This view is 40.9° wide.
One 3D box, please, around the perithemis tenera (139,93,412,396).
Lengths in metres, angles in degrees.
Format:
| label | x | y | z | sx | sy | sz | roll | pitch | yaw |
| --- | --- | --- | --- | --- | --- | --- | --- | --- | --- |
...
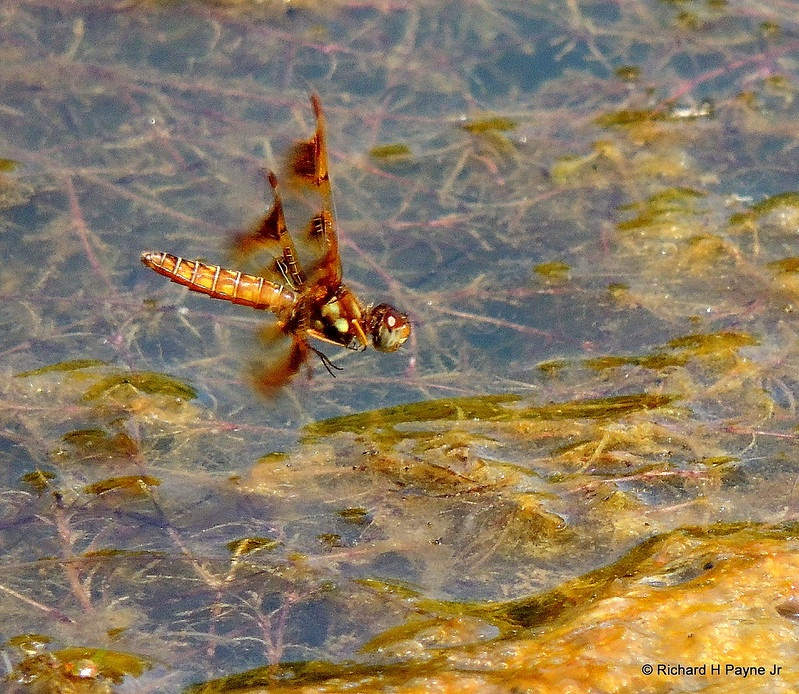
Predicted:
| label | x | y | z | sx | sy | sz | roll | pitch | yaw |
| --- | --- | --- | --- | --- | --- | --- | --- | --- | --- |
| perithemis tenera | -0.749 | -0.600 | 7.760 | 1.840 | 2.563 | 1.074 | 1 | 70 | 1 |
